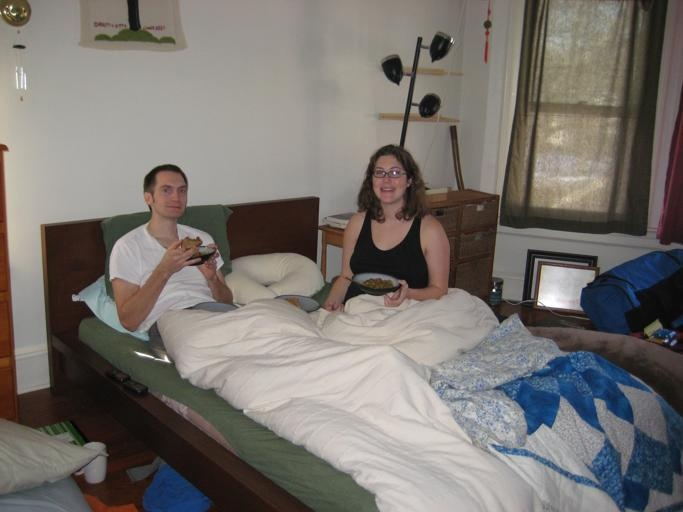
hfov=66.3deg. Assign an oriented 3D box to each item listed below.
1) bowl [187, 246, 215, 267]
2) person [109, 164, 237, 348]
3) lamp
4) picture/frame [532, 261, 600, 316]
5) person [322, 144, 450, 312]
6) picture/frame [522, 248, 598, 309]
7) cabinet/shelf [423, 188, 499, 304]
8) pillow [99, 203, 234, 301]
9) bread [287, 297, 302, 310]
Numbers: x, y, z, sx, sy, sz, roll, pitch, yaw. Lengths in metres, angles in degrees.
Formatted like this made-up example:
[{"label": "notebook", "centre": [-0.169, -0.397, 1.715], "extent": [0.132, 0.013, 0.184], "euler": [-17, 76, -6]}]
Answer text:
[{"label": "bowl", "centre": [-0.659, 0.004, 2.485], "extent": [0.112, 0.106, 0.159], "euler": [-3, 14, -11]}, {"label": "person", "centre": [-0.815, -0.044, 2.660], "extent": [0.518, 0.815, 0.609], "euler": [3, 14, 15]}, {"label": "lamp", "centre": [0.567, -1.275, 3.972], "extent": [0.523, 0.870, 0.866], "euler": [2, 14, 10]}, {"label": "picture/frame", "centre": [1.811, 0.257, 4.198], "extent": [0.396, 0.357, 0.030], "euler": [6, 6, 25]}, {"label": "person", "centre": [0.215, -0.129, 2.838], "extent": [0.594, 0.970, 0.686], "euler": [3, 2, 27]}, {"label": "picture/frame", "centre": [1.786, 0.201, 4.281], "extent": [0.462, 0.416, 0.038], "euler": [4, -4, 17]}, {"label": "cabinet/shelf", "centre": [1.026, -0.038, 4.689], "extent": [0.645, 0.443, 1.125], "euler": [7, -22, 17]}, {"label": "pillow", "centre": [-0.909, -0.037, 3.130], "extent": [0.131, 0.559, 0.559], "euler": [1, 8, 43]}, {"label": "bread", "centre": [-0.248, 0.244, 2.683], "extent": [0.060, 0.063, 0.045], "euler": [-19, 17, -22]}]
